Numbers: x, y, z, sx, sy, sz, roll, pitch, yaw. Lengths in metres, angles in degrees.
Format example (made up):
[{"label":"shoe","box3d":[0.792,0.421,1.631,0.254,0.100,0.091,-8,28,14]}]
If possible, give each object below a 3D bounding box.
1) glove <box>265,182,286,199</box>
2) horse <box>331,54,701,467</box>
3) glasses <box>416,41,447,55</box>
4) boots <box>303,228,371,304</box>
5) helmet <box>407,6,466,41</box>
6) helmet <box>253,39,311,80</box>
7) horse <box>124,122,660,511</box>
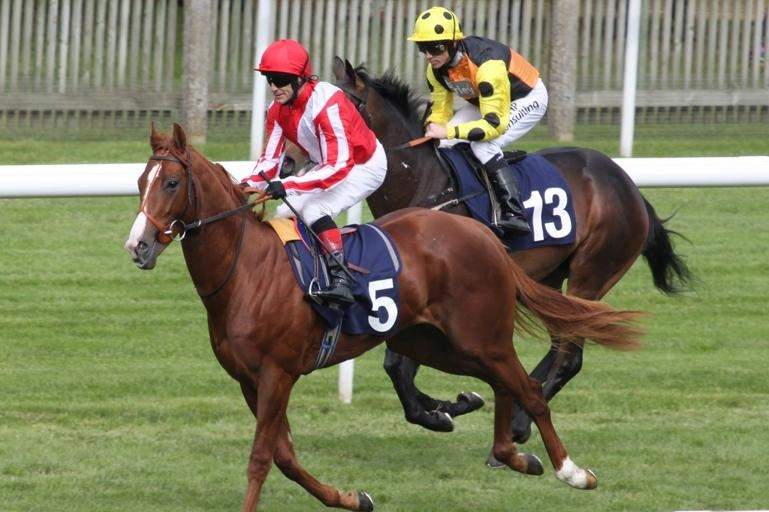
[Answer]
[{"label":"glove","box3d":[-0.523,-0.322,7.484,0.038,0.067,0.101,21,-10,-38]},{"label":"horse","box3d":[0.527,-0.064,8.371,2.819,1.793,0.705,2,9,-36]},{"label":"glasses","box3d":[0.262,-1.115,8.197,0.157,0.075,0.081,1,12,11]},{"label":"boots","box3d":[-0.254,0.055,7.496,0.229,0.350,0.246,-3,12,-6]},{"label":"helmet","box3d":[0.279,-1.251,8.205,0.261,0.114,0.190,-4,9,-33]},{"label":"helmet","box3d":[-0.519,-1.001,7.657,0.275,0.175,0.340,10,11,31]},{"label":"horse","box3d":[-0.062,0.293,7.557,2.315,1.969,0.557,-4,13,-12]}]
